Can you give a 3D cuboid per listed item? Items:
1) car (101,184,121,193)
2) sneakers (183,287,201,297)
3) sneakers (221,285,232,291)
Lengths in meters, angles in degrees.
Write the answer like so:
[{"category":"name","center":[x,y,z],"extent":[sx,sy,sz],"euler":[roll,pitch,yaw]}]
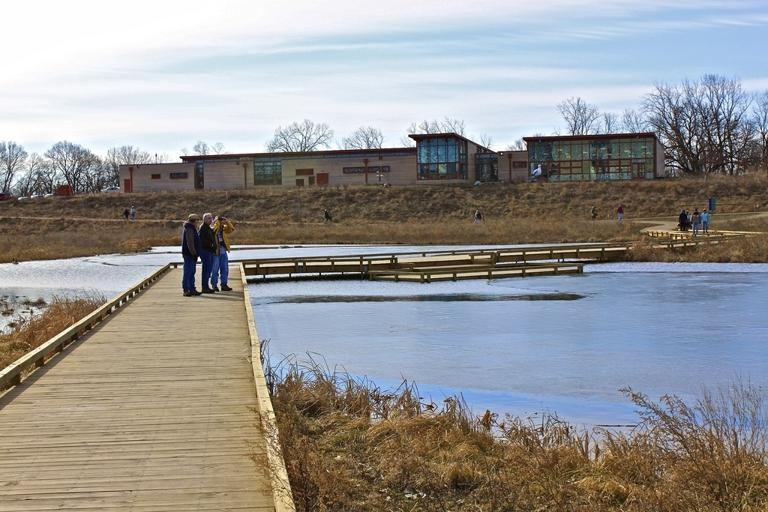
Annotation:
[{"category":"car","center":[-36.154,-8.980,118.484],"extent":[1.924,0.788,5.199],"euler":[-3,4,-19]},{"category":"sneakers","center":[-4.719,0.882,21.957],"extent":[0.461,0.183,0.148],"euler":[0,9,-10]},{"category":"sneakers","center":[-4.061,0.799,22.952],"extent":[0.295,0.184,0.104],"euler":[-3,21,-15]}]
